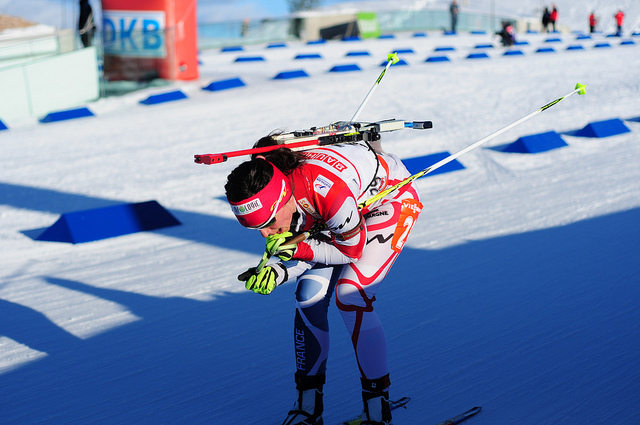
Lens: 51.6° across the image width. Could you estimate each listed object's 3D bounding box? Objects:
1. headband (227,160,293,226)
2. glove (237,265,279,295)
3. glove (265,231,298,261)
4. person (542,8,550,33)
[{"bbox_3d":[-0.406,-0.082,4.889,0.424,0.241,0.524,-16,11,35],"label":"headband"},{"bbox_3d":[-0.446,0.498,4.857,0.209,0.107,0.269,-5,2,39],"label":"glove"},{"bbox_3d":[-0.255,0.252,4.769,0.240,0.104,0.178,-38,58,-11],"label":"glove"},{"bbox_3d":[9.021,-7.593,26.418,0.239,0.912,0.835,4,21,17],"label":"person"}]
